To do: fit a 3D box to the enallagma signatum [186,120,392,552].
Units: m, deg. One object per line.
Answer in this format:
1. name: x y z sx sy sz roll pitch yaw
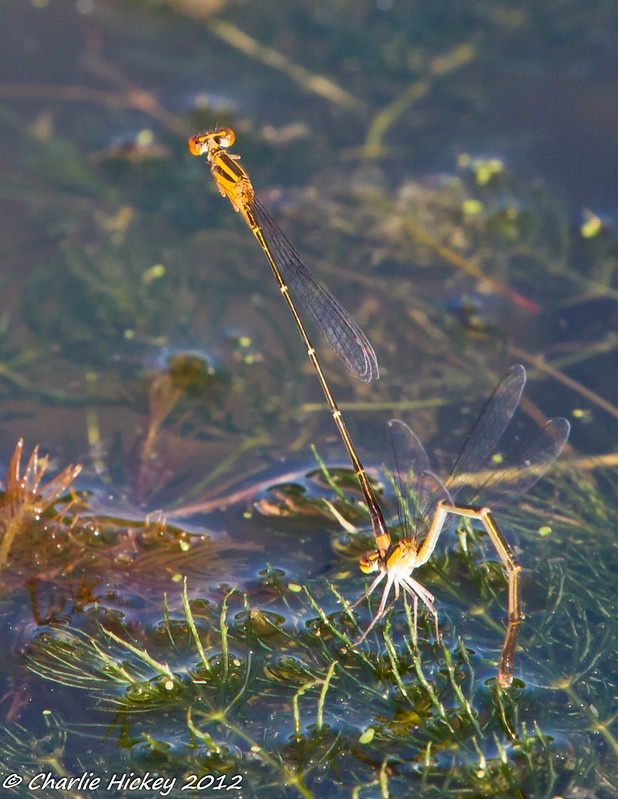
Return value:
1. enallagma signatum: -0.020 -0.059 0.975 0.051 0.102 0.505 -19 77 -1
